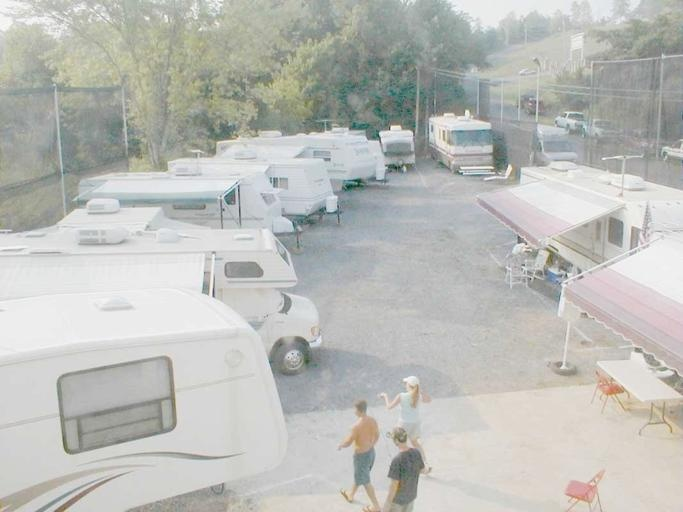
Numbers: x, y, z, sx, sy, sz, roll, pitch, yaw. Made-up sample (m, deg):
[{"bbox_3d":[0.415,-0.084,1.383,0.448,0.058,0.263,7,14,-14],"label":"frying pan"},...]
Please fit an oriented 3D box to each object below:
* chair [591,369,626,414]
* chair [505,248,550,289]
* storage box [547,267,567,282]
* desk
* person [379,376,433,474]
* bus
[{"bbox_3d":[4.569,2.292,9.429,0.532,0.869,0.505,-7,17,5],"label":"chair"},{"bbox_3d":[5.272,0.302,15.738,0.831,1.011,1.485,2,17,3],"label":"chair"},{"bbox_3d":[5.892,0.504,14.802,0.310,0.213,0.320,-6,14,-17],"label":"storage box"},{"bbox_3d":[4.962,2.278,8.961,0.878,0.707,1.349,-5,18,-1],"label":"desk"},{"bbox_3d":[0.937,2.390,7.836,0.727,1.375,0.492,2,7,17],"label":"person"},{"bbox_3d":[7.724,-7.726,35.606,2.217,2.988,6.404,-1,22,-3],"label":"bus"}]
